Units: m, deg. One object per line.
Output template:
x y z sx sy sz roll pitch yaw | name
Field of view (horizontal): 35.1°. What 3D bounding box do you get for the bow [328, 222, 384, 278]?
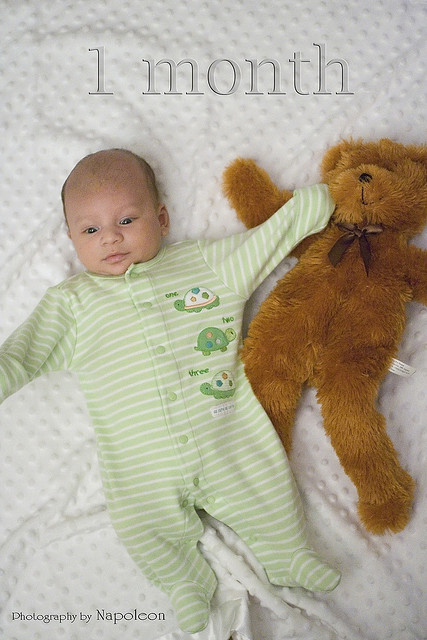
0.302 -0.142 1.405 0.117 0.034 0.103 20 97 36 | bow
